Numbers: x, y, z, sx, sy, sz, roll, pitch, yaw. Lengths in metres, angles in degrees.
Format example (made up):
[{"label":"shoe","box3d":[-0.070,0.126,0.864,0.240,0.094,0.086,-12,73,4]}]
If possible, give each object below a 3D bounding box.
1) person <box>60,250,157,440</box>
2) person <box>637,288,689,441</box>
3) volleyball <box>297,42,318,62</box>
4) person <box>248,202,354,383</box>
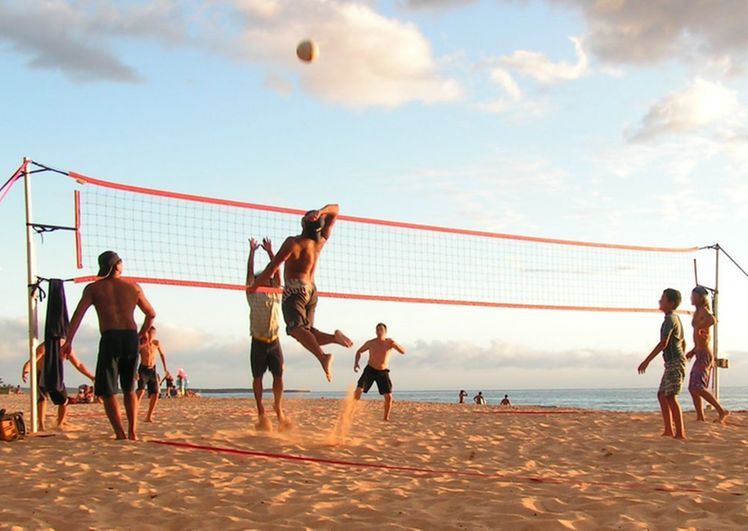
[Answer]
[{"label":"person","box3d":[-2.361,0.760,6.594,0.744,1.666,0.707,0,0,-23]},{"label":"person","box3d":[2.898,0.987,7.300,0.408,1.513,0.790,0,0,23]},{"label":"volleyball","box3d":[-0.731,-2.327,7.973,0.195,0.233,0.277,0,0,-4]},{"label":"person","box3d":[-0.666,0.156,6.847,1.064,1.695,0.918,10,-18,-18]}]
